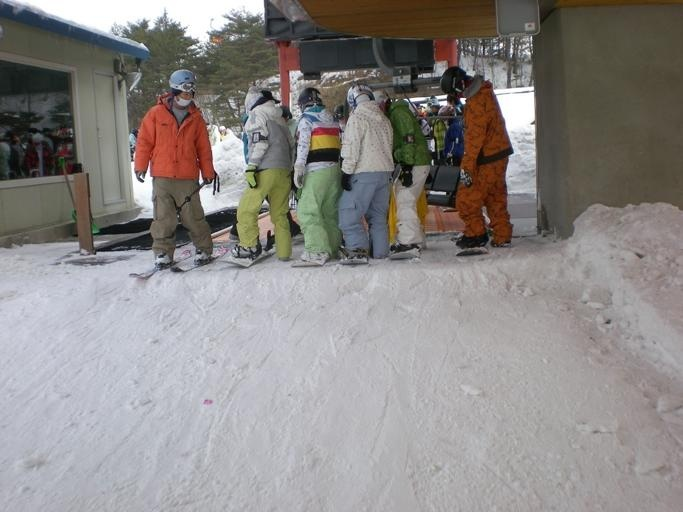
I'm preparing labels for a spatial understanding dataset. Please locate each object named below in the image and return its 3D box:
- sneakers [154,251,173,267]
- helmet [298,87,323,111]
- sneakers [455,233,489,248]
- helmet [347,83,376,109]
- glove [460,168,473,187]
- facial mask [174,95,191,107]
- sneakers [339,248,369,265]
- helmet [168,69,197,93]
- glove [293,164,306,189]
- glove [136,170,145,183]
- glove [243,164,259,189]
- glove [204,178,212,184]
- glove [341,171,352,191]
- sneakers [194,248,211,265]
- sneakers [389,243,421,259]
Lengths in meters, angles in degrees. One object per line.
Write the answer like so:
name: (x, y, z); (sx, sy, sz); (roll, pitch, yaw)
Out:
sneakers: (-1.873, 0.028, 4.973); (0.149, 0.084, 0.151); (-3, 4, -16)
helmet: (-0.335, -1.649, 4.941); (0.211, 0.251, 0.252); (-5, 23, -14)
sneakers: (1.435, -0.173, 5.224); (0.346, 0.151, 0.140); (1, 5, 6)
helmet: (0.206, -1.698, 4.983); (0.243, 0.302, 0.287); (0, 19, -5)
glove: (1.316, -0.830, 4.995); (0.119, 0.168, 0.063); (-9, 1, 8)
facial mask: (-1.647, -1.608, 4.906); (0.165, 0.104, 0.078); (-7, 13, -22)
sneakers: (0.128, -0.007, 4.932); (0.286, 0.130, 0.422); (-2, 12, 2)
helmet: (-1.640, -1.799, 4.883); (0.267, 0.228, 0.253); (-4, 50, -10)
glove: (-0.425, -0.820, 4.822); (0.067, 0.202, 0.148); (0, -8, 13)
glove: (-2.088, -0.819, 4.902); (0.094, 0.062, 0.127); (1, -10, -22)
glove: (-0.925, -0.804, 4.864); (0.070, 0.181, 0.176); (7, 9, -25)
glove: (-1.453, -0.814, 5.167); (0.057, 0.054, 0.066); (-1, 39, 8)
glove: (0.053, -0.774, 4.875); (0.100, 0.205, 0.148); (-2, 12, 2)
sneakers: (-1.519, 0.018, 5.176); (0.091, 0.123, 0.274); (-2, -3, -1)
sneakers: (0.656, -0.053, 4.917); (0.363, 0.160, 0.134); (1, -2, 15)
